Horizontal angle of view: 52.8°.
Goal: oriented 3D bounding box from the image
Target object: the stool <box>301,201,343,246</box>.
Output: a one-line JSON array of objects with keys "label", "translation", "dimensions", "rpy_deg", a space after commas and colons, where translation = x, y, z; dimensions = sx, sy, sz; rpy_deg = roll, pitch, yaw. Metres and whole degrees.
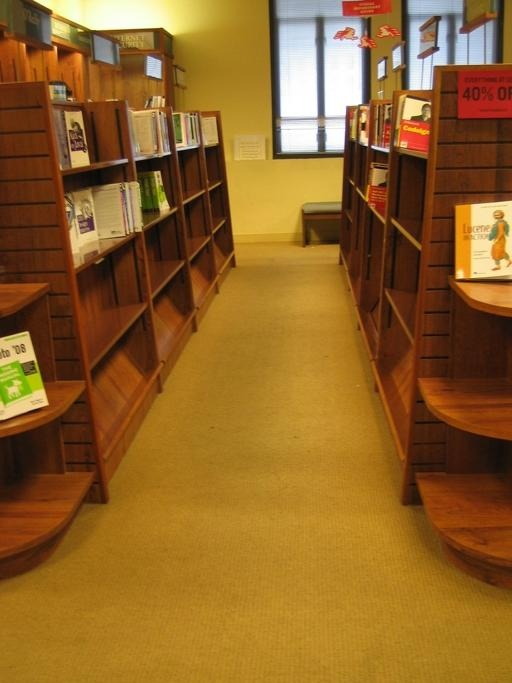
[{"label": "stool", "translation": [0.905, -1.685, 7.189], "dimensions": [0.785, 0.610, 0.560], "rpy_deg": [-2, 17, -1]}]
